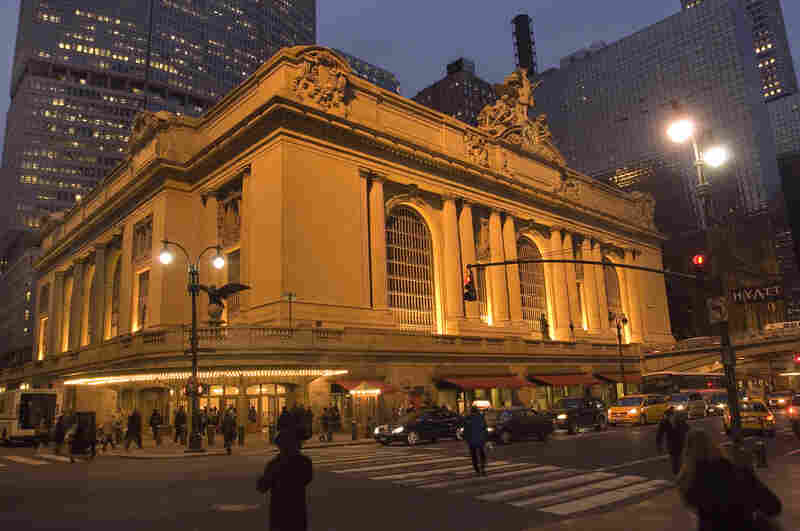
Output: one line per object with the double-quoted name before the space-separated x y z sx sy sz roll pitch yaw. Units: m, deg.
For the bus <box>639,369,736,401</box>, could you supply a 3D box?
"bus" 31.448 13.242 68.051 16.916 4.180 4.352 3 -5 -41
